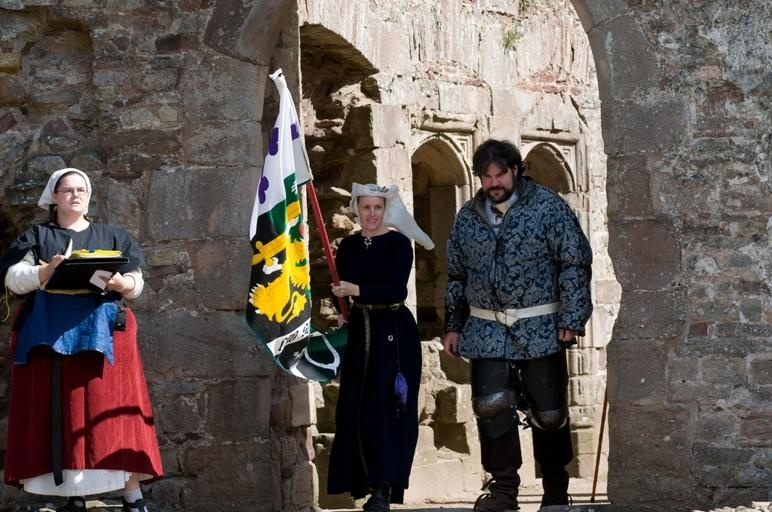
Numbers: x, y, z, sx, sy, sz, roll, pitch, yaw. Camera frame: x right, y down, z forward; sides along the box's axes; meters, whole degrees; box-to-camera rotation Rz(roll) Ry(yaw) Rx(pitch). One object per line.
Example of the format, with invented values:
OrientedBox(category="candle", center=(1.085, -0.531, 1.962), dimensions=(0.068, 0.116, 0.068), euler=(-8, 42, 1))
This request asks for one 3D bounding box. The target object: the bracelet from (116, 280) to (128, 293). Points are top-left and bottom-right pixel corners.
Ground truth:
OrientedBox(category="bracelet", center=(-1.604, 0.182, 8.865), dimensions=(0.056, 0.037, 0.053), euler=(-5, -10, 3))

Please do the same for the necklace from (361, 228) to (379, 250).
OrientedBox(category="necklace", center=(-0.119, -0.124, 9.579), dimensions=(0.105, 0.130, 0.042), euler=(-3, -11, 20))

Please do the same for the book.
OrientedBox(category="book", center=(-1.809, 0.092, 8.749), dimensions=(0.345, 0.079, 0.350), euler=(7, -35, -33))

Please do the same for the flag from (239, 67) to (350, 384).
OrientedBox(category="flag", center=(-0.551, -0.192, 9.325), dimensions=(0.651, 1.941, 0.259), euler=(4, -3, -43))
